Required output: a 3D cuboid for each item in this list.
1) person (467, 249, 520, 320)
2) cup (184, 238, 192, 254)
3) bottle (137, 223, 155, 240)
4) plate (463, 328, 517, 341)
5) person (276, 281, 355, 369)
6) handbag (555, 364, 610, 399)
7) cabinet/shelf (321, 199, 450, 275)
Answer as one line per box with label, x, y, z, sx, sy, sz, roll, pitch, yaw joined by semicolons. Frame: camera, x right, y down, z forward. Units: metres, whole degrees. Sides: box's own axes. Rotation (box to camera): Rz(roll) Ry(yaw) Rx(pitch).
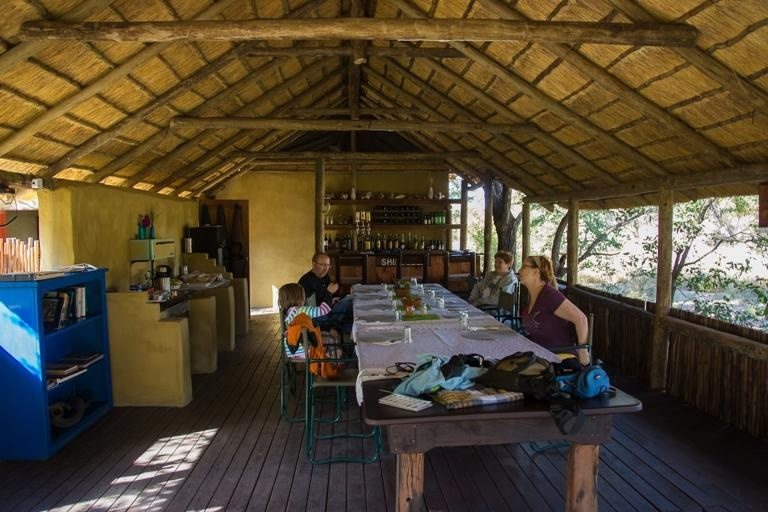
person;1.504;0.502;7.549;0.652;1.103;0.614;9;3;27
cup;-3.292;-0.181;9.051;0.137;0.237;0.367;-2;5;-20
bottle;-3.265;-0.334;7.344;0.260;0.224;0.079;-2;9;-25
plate;0.967;0.736;4.989;0.505;0.045;0.304;0;4;6
person;-0.824;0.704;5.947;1.033;1.058;0.855;-1;4;-7
handbag;1.382;0.879;3.808;0.240;0.149;0.319;-3;-4;-27
cabinet/shelf;0.054;-0.419;10.858;2.568;1.735;1.335;-1;5;-6
